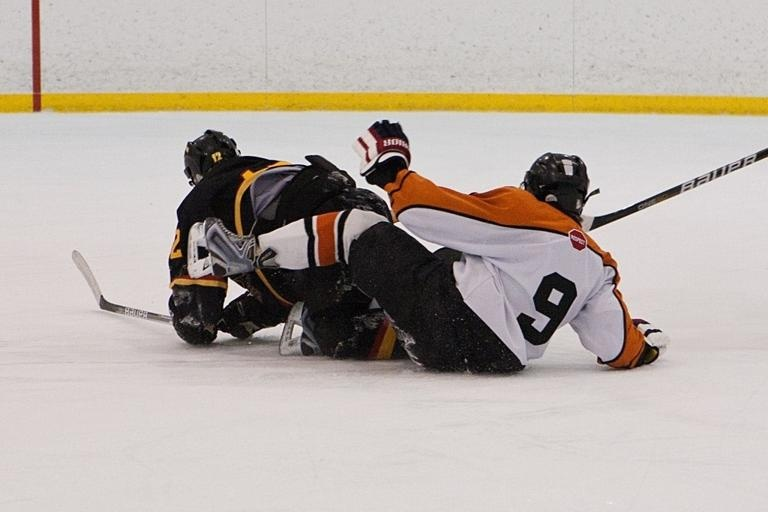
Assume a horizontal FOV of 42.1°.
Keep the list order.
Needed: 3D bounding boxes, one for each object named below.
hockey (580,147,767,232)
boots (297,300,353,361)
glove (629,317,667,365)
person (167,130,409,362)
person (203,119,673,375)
[{"bbox_3d":[2.093,-0.453,7.145,1.517,0.460,0.069,-20,52,-9],"label":"hockey"},{"bbox_3d":[-0.277,0.368,4.752,0.280,0.245,0.104,2,5,0],"label":"boots"},{"bbox_3d":[1.258,0.405,4.749,0.181,0.208,0.087,12,-7,-14],"label":"glove"},{"bbox_3d":[-0.623,-0.047,4.871,0.786,0.630,1.541,-21,40,-37],"label":"person"},{"bbox_3d":[0.194,0.002,4.684,1.616,0.676,1.077,6,-11,34],"label":"person"}]
